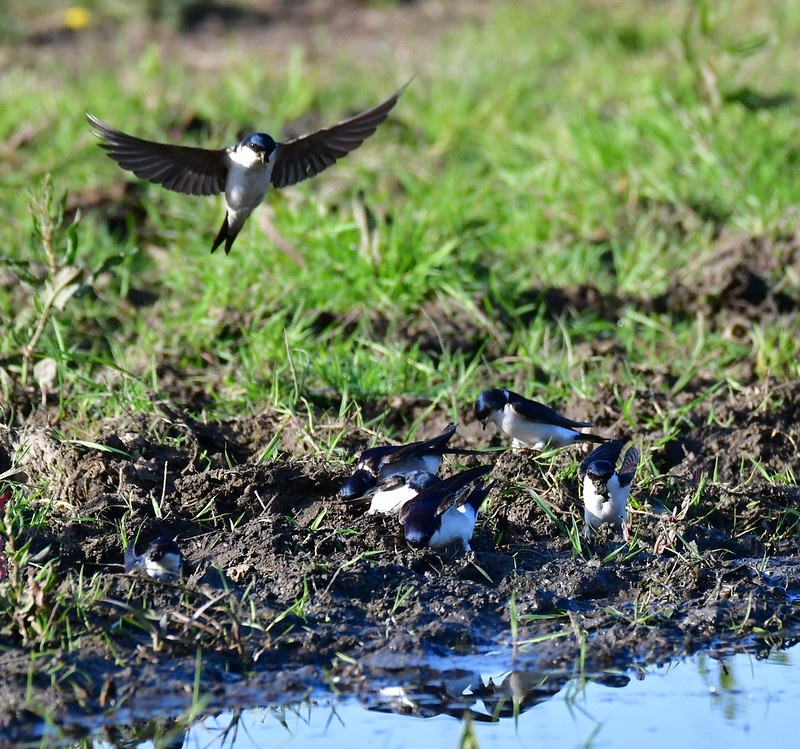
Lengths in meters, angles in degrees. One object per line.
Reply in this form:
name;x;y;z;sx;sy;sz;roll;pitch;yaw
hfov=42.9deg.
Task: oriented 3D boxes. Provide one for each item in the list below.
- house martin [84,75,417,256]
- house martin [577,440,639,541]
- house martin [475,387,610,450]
house martin;-0.723;-0.915;4.781;1.318;0.867;0.455;-9;35;-15
house martin;0.934;0.475;4.555;0.194;0.293;0.507;-1;40;17
house martin;0.710;0.234;5.163;0.730;0.249;0.326;1;77;-21
